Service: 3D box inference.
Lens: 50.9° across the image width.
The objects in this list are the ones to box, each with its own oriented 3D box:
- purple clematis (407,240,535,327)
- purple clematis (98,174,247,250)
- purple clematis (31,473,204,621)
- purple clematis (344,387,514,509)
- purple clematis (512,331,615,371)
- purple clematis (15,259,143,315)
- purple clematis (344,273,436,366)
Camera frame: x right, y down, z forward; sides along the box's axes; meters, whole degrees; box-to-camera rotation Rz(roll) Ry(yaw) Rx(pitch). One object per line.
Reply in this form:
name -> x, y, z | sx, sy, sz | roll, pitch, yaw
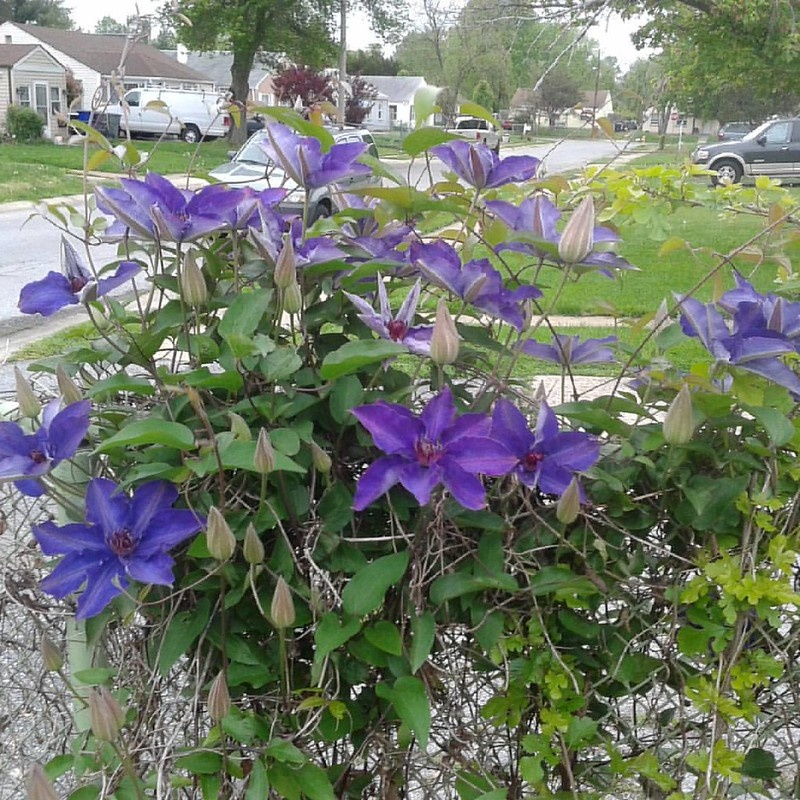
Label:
purple clematis -> 0.097, -0.170, 1.248 | 0.223, 0.120, 0.158 | 10, 15, 19
purple clematis -> -0.334, -0.281, 1.241 | 0.196, 0.098, 0.202 | 12, 15, 26
purple clematis -> -0.369, 0.189, 1.099 | 0.216, 0.159, 0.148 | 2, 15, -11
purple clematis -> 0.041, 0.059, 1.029 | 0.205, 0.138, 0.134 | 4, 15, -4
purple clematis -> 0.281, -0.079, 1.378 | 0.110, 0.043, 0.094 | 1, 23, 1
purple clematis -> -0.484, -0.178, 1.276 | 0.186, 0.029, 0.057 | -2, -4, 11
purple clematis -> 0.008, -0.106, 1.180 | 0.141, 0.052, 0.123 | -25, 56, -32
